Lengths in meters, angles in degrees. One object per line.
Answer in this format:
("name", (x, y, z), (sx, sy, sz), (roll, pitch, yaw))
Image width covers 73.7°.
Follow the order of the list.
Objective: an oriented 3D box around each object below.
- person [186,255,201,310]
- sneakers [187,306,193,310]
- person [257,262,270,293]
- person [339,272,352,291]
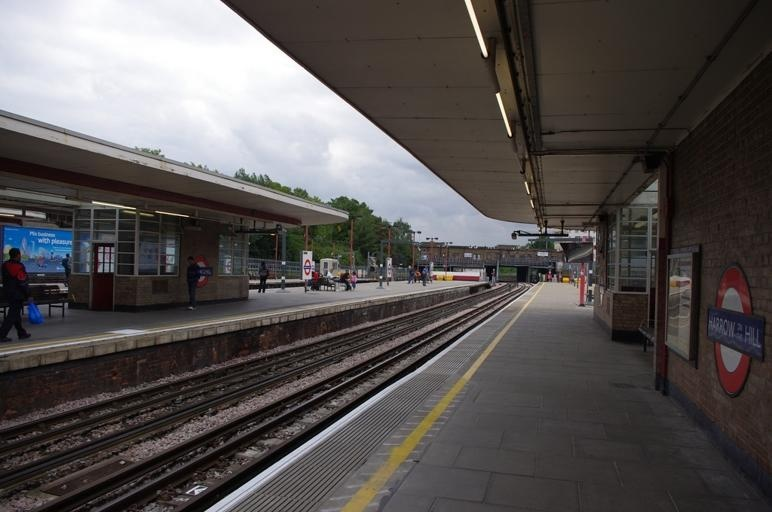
("person", (-6.637, 0.899, 17.697), (0.364, 1.777, 0.985), (-2, -2, -22))
("sneakers", (-6.626, 1.740, 17.434), (0.206, 0.085, 0.130), (-3, -15, 16))
("person", (-6.371, 1.149, 26.467), (0.451, 1.417, 1.335), (-2, -2, -14))
("person", (-2.450, 1.500, 31.654), (0.575, 1.173, 1.608), (-3, -2, -12))
